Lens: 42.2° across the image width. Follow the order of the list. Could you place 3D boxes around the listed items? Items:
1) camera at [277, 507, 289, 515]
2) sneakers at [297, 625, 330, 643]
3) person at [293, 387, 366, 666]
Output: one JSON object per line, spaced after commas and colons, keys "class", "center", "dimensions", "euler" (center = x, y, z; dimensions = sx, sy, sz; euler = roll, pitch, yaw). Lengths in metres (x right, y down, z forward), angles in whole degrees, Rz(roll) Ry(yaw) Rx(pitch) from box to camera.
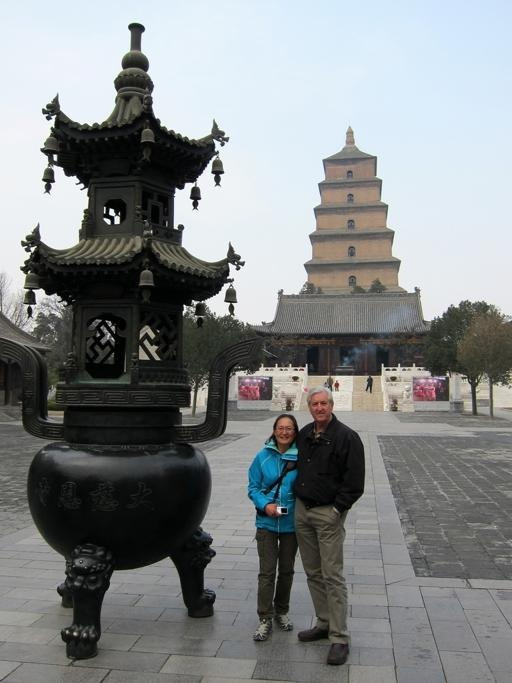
{"class": "camera", "center": [0.169, 1.074, 4.178], "dimensions": [0.036, 0.057, 0.090], "euler": [-3, -6, 43]}
{"class": "sneakers", "center": [0.350, 1.787, 4.069], "dimensions": [0.223, 0.137, 0.071], "euler": [6, -9, -2]}
{"class": "person", "center": [0.452, 1.059, 4.041], "dimensions": [0.369, 1.534, 0.605], "euler": [2, -5, -14]}
